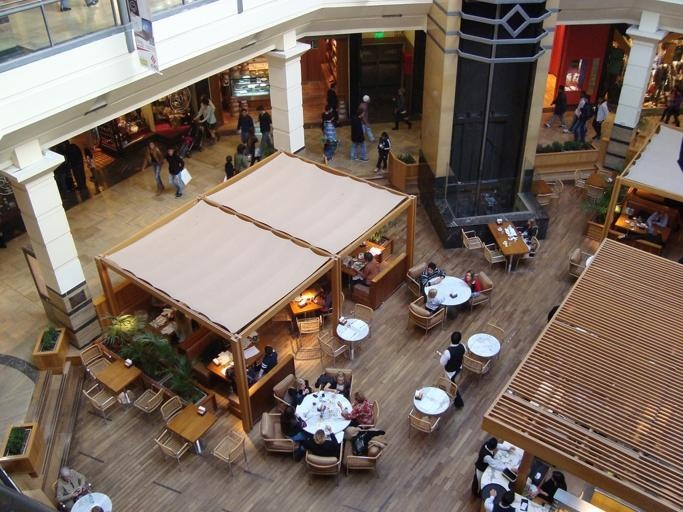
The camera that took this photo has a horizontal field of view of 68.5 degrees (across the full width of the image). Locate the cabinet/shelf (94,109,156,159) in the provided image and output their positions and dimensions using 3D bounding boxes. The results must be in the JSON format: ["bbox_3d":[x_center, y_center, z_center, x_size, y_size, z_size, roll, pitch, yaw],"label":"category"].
[{"bbox_3d":[-7.418,-4.063,16.874,0.921,1.683,1.733,38,56,21],"label":"cabinet/shelf"}]

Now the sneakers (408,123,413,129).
[{"bbox_3d":[2.718,-5.220,19.876,0.097,0.194,0.276,26,90,26],"label":"sneakers"}]

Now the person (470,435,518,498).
[{"bbox_3d":[3.111,3.866,9.345,0.570,1.093,0.641,-44,20,-1],"label":"person"}]

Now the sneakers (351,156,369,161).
[{"bbox_3d":[0.674,-3.523,18.221,0.604,0.264,0.218,1,57,1],"label":"sneakers"}]

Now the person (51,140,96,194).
[{"bbox_3d":[-8.788,-2.902,16.167,0.806,1.495,1.010,-13,38,-17],"label":"person"}]

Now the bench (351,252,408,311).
[{"bbox_3d":[0.995,0.751,13.479,0.585,0.801,1.187,27,56,27],"label":"bench"}]

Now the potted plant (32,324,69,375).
[{"bbox_3d":[-6.799,2.226,11.681,0.483,0.681,0.996,0,50,-4],"label":"potted plant"}]

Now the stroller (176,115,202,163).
[{"bbox_3d":[-5.539,-4.415,18.277,0.956,1.011,1.447,-11,38,-13],"label":"stroller"}]

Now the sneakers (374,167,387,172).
[{"bbox_3d":[1.381,-3.014,17.654,0.493,0.153,0.211,0,5,-25],"label":"sneakers"}]

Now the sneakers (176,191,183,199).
[{"bbox_3d":[-5.284,-1.997,16.140,0.240,0.139,0.215,-7,37,-8],"label":"sneakers"}]

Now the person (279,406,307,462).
[{"bbox_3d":[-0.914,3.576,10.147,0.435,1.070,0.414,-11,14,18],"label":"person"}]

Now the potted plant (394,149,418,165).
[{"bbox_3d":[2.274,-3.370,17.783,0.702,0.322,0.732,-35,53,-27],"label":"potted plant"}]

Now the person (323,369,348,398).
[{"bbox_3d":[-0.091,2.763,10.818,0.606,0.729,0.637,-3,36,-2],"label":"person"}]

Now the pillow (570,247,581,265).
[{"bbox_3d":[6.582,0.021,14.074,0.225,0.373,0.293,26,89,22],"label":"pillow"}]

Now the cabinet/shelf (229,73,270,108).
[{"bbox_3d":[-3.859,-6.849,20.502,1.943,1.377,1.075,-5,31,-8],"label":"cabinet/shelf"}]

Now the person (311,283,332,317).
[{"bbox_3d":[-0.534,1.168,13.005,0.438,0.781,0.333,-18,75,-2],"label":"person"}]

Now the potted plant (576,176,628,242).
[{"bbox_3d":[7.943,-1.366,15.151,0.943,0.807,2.609,10,58,22],"label":"potted plant"}]

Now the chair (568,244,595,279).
[{"bbox_3d":[6.218,0.175,13.018,0.583,0.606,0.619,14,71,21],"label":"chair"}]
